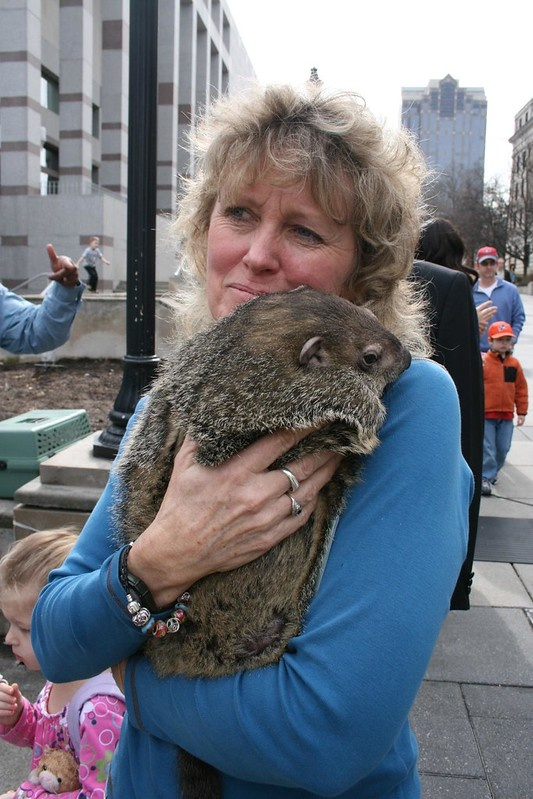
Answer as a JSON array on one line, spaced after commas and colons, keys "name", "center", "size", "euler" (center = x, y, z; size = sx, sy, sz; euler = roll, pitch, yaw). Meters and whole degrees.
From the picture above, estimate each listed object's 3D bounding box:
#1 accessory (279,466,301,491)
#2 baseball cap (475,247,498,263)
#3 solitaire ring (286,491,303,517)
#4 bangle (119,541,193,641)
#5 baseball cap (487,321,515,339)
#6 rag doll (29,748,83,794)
[{"name": "accessory", "center": [0.058, 0.180, 1.792], "size": [0.022, 0.049, 0.040], "euler": [-31, 13, -38]}, {"name": "baseball cap", "center": [2.829, -1.849, 10.060], "size": [0.260, 0.200, 0.379], "euler": [2, 17, 6]}, {"name": "solitaire ring", "center": [0.060, 0.238, 1.786], "size": [0.022, 0.045, 0.035], "euler": [-24, -12, -7]}, {"name": "bangle", "center": [-0.250, 0.441, 1.871], "size": [0.078, 0.202, 0.173], "euler": [-33, 3, -35]}, {"name": "baseball cap", "center": [2.598, -0.764, 8.685], "size": [0.222, 0.149, 0.287], "euler": [0, 6, 5]}, {"name": "rag doll", "center": [-0.771, 1.363, 2.916], "size": [0.154, 0.114, 0.152], "euler": [21, 18, 35]}]
